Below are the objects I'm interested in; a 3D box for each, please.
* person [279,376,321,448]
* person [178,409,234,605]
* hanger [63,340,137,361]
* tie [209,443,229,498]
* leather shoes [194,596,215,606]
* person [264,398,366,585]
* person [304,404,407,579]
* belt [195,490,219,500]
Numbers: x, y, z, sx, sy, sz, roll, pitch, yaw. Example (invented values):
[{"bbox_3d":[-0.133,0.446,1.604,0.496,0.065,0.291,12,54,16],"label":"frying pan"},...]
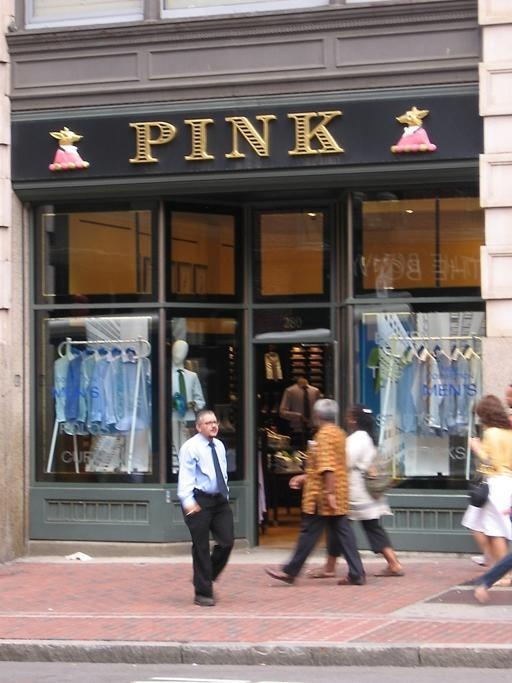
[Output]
[{"bbox_3d":[0.558,0.853,14.637,0.462,0.898,0.415,1,2,19],"label":"person"},{"bbox_3d":[-0.432,1.405,10.120,0.375,1.529,0.569,-1,0,19],"label":"person"},{"bbox_3d":[-1.726,0.096,13.258,0.940,0.197,0.168,-1,1,26],"label":"hanger"},{"bbox_3d":[-0.323,1.107,10.135,0.124,0.507,0.041,-18,-4,-14],"label":"tie"},{"bbox_3d":[-0.435,2.174,9.980,0.188,0.077,0.067,-8,-7,37],"label":"leather shoes"},{"bbox_3d":[0.522,1.362,10.802,0.971,1.667,0.640,0,-4,2],"label":"person"},{"bbox_3d":[0.908,1.387,11.176,0.781,1.550,0.547,0,-5,-4],"label":"person"},{"bbox_3d":[-0.423,1.300,10.051,0.102,0.043,0.134,0,-2,-28],"label":"belt"}]
